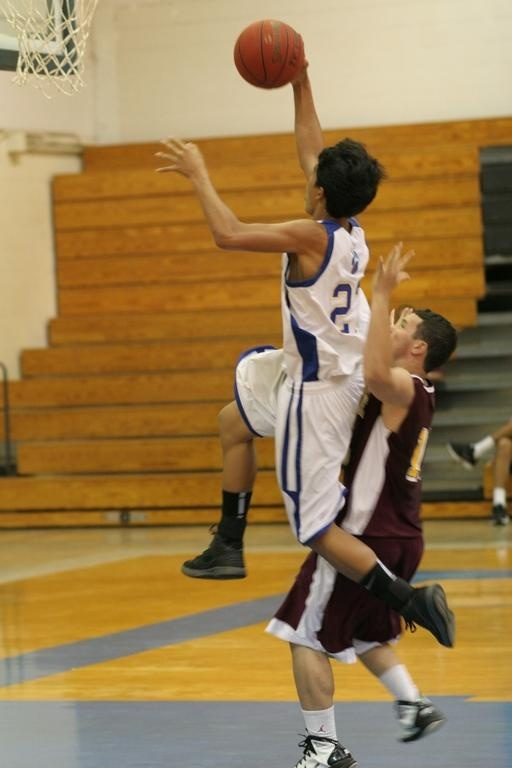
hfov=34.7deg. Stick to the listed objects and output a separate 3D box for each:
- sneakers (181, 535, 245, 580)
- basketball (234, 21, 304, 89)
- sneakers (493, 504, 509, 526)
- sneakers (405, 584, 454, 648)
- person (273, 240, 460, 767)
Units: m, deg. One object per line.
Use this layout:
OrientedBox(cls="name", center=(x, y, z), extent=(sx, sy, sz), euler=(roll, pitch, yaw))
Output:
OrientedBox(cls="sneakers", center=(-0.083, 0.399, 1.869), extent=(0.190, 0.116, 0.066), euler=(-1, -22, 16))
OrientedBox(cls="basketball", center=(0.030, -0.718, 1.850), extent=(0.170, 0.153, 0.174), euler=(5, 15, 2))
OrientedBox(cls="sneakers", center=(1.482, 0.787, 4.936), extent=(0.115, 0.136, 0.067), euler=(0, -3, -26))
OrientedBox(cls="sneakers", center=(0.329, 0.420, 1.472), extent=(0.063, 0.120, 0.087), euler=(-13, 23, 20))
OrientedBox(cls="person", center=(0.214, 0.221, 1.549), extent=(0.329, 0.951, 0.390), euler=(-4, -3, 37))
